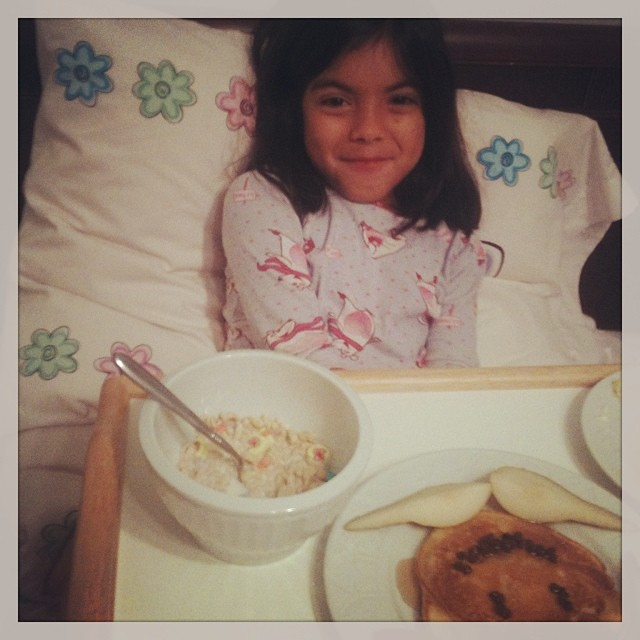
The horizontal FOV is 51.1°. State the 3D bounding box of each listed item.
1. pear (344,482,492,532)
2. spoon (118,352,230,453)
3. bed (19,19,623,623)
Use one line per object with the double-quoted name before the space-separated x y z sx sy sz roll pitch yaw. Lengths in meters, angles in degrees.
"pear" 0.126 0.315 1.127 0.306 0.075 0.032 -8 -7 -4
"spoon" -0.231 0.138 1.061 0.216 0.023 0.018 43 35 -14
"bed" -0.031 0.011 1.089 1.075 0.909 0.244 -1 6 -5
